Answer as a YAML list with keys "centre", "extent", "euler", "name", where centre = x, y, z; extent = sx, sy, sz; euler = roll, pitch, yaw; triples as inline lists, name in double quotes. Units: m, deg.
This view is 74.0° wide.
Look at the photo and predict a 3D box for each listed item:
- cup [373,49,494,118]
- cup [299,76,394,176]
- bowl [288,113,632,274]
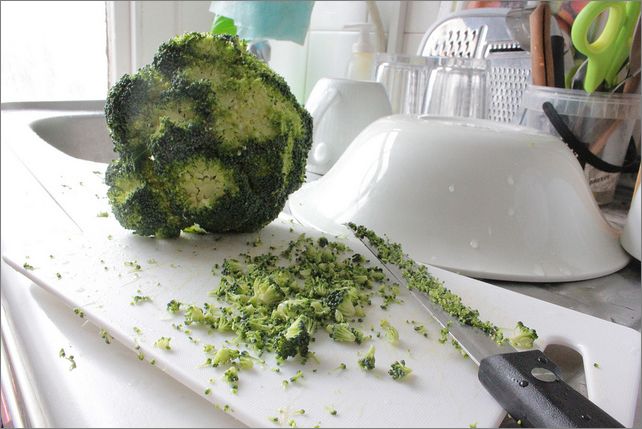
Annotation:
- centre: [0.272, -0.309, 1.026]
  extent: [0.219, 0.130, 0.125]
  euler: [2, 8, 14]
  name: "cup"
- centre: [0.032, -0.226, 1.021]
  extent: [0.145, 0.188, 0.244]
  euler: [22, 20, 16]
  name: "cup"
- centre: [0.255, -0.036, 0.701]
  extent: [0.355, 0.096, 0.360]
  euler: [9, 17, -3]
  name: "bowl"
